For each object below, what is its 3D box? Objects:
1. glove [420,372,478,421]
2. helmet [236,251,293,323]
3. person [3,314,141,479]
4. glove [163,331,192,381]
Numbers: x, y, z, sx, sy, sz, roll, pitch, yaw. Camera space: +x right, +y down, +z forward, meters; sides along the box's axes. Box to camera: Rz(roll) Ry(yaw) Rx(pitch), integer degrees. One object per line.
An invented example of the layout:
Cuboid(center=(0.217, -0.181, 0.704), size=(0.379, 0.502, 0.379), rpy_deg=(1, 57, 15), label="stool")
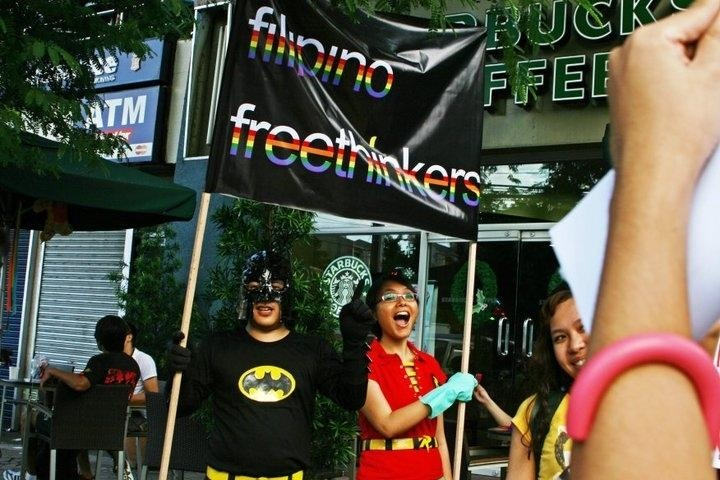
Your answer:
Cuboid(center=(0.475, 0.830, 3.910), size=(0.181, 0.224, 0.505), rpy_deg=(1, -5, 26), label="glove")
Cuboid(center=(-0.541, 0.229, 4.085), size=(0.289, 0.424, 0.354), rpy_deg=(5, 10, 13), label="helmet")
Cuboid(center=(-2.615, 1.503, 6.665), size=(0.992, 1.634, 1.437), rpy_deg=(6, -5, -32), label="person")
Cuboid(center=(-0.857, 0.557, 3.470), size=(0.071, 0.217, 0.157), rpy_deg=(6, -29, -38), label="glove")
